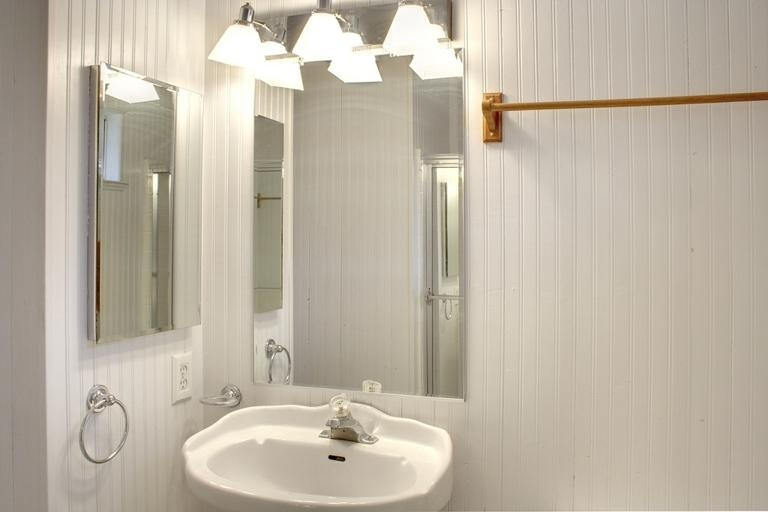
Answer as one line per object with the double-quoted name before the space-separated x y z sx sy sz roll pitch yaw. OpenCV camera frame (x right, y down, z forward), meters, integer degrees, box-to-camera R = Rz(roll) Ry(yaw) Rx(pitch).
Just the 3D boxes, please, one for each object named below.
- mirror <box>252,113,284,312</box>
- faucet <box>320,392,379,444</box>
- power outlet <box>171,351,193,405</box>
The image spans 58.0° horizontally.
"mirror" -0.463 -0.157 2.764 0.142 0.792 0.012 1 2 24
"faucet" -0.146 0.608 2.593 0.199 0.171 0.116 -1 1 20
"power outlet" -0.804 0.480 2.740 0.024 0.194 0.091 -1 0 31
